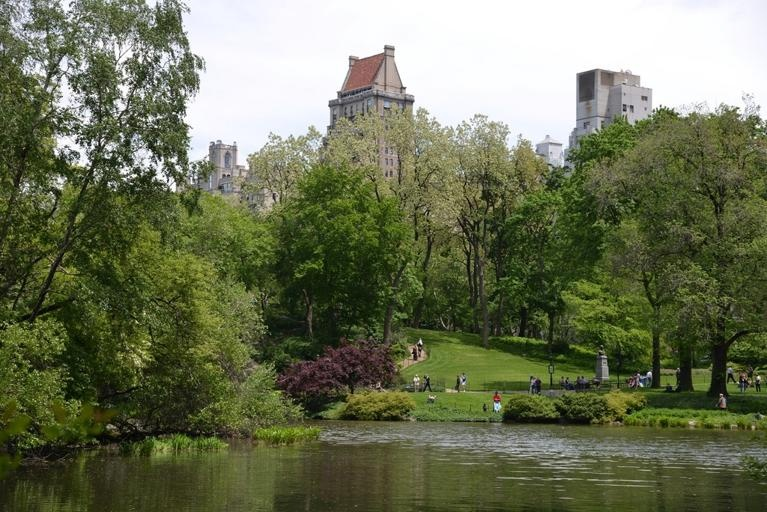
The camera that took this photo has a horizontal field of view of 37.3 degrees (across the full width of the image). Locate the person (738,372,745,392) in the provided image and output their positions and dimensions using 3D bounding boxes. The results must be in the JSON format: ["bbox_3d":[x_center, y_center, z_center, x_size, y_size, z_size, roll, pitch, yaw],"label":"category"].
[{"bbox_3d":[25.824,8.999,81.036,0.370,1.443,1.985,2,2,19],"label":"person"}]
